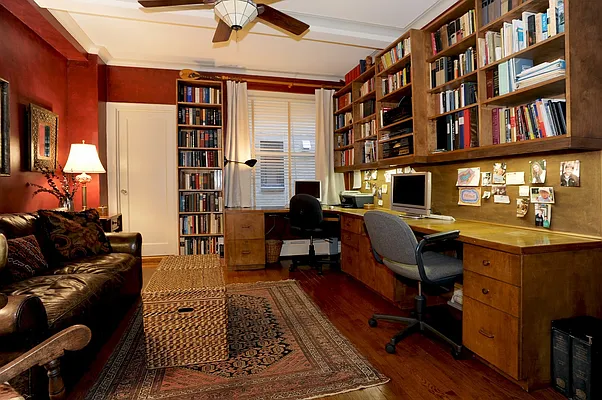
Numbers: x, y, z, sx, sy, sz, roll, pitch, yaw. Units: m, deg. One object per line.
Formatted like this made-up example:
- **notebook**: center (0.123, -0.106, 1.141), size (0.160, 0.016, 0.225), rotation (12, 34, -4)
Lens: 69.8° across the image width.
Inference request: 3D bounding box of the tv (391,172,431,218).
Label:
- **tv**: center (1.198, -0.054, 4.643), size (0.150, 0.374, 0.538), rotation (1, 0, -18)

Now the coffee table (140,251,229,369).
- **coffee table**: center (-1.077, 0.969, 4.211), size (0.706, 0.616, 1.239), rotation (-3, 9, -10)

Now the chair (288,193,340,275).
- **chair**: center (0.176, 0.415, 5.904), size (0.790, 0.882, 0.665), rotation (1, -4, 4)

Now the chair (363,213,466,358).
- **chair**: center (1.010, 0.677, 4.271), size (1.215, 1.243, 1.153), rotation (0, 1, -15)

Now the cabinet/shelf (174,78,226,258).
- **cabinet/shelf**: center (-1.418, -0.414, 6.131), size (0.672, 2.435, 0.249), rotation (1, 17, -9)

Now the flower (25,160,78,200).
- **flower**: center (-3.020, -0.236, 5.334), size (0.426, 0.439, 0.407), rotation (-1, 10, 3)

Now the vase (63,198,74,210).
- **vase**: center (-2.793, 0.052, 5.195), size (0.102, 0.146, 0.127), rotation (-3, 3, -34)

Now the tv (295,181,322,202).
- **tv**: center (0.095, -0.127, 6.174), size (0.335, 0.298, 0.033), rotation (1, -3, 4)
